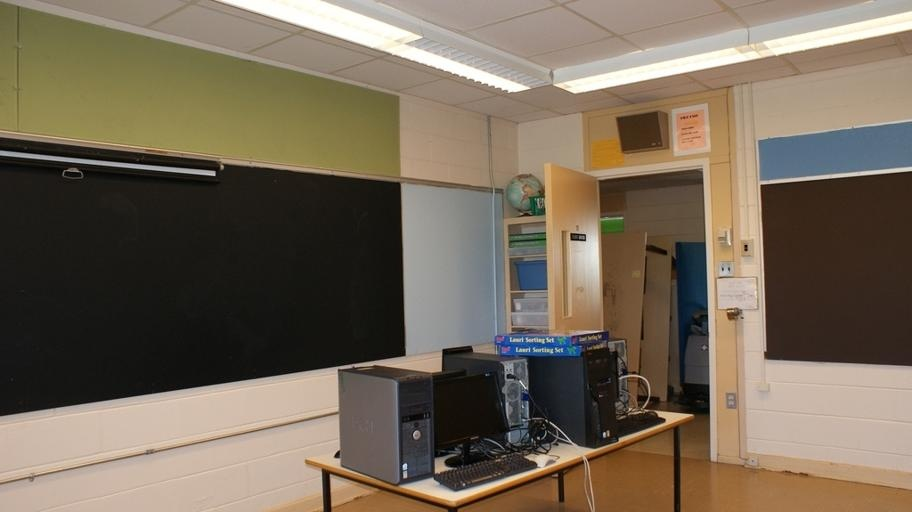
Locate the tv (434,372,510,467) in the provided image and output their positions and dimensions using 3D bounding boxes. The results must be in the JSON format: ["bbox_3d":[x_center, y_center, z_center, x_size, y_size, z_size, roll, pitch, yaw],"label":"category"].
[{"bbox_3d":[0.112,1.303,4.749,0.720,0.598,0.272,3,-15,-32],"label":"tv"}]

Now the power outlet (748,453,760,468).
[{"bbox_3d":[3.236,2.247,6.558,0.165,0.150,0.085,-5,-9,43],"label":"power outlet"}]

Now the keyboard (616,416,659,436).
[{"bbox_3d":[1.534,1.449,5.166,0.351,0.048,0.164,-2,3,-38],"label":"keyboard"}]

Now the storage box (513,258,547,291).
[{"bbox_3d":[0.898,0.235,7.217,0.363,0.268,0.391,-1,-2,16],"label":"storage box"}]

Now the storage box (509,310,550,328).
[{"bbox_3d":[0.864,0.761,7.133,0.454,0.191,0.133,-3,-2,33],"label":"storage box"}]

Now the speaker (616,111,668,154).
[{"bbox_3d":[2.099,-1.448,7.109,0.670,0.458,0.228,-13,2,-26],"label":"speaker"}]

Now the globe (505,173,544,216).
[{"bbox_3d":[0.851,-0.769,7.556,0.521,0.553,0.477,-6,23,-3],"label":"globe"}]
